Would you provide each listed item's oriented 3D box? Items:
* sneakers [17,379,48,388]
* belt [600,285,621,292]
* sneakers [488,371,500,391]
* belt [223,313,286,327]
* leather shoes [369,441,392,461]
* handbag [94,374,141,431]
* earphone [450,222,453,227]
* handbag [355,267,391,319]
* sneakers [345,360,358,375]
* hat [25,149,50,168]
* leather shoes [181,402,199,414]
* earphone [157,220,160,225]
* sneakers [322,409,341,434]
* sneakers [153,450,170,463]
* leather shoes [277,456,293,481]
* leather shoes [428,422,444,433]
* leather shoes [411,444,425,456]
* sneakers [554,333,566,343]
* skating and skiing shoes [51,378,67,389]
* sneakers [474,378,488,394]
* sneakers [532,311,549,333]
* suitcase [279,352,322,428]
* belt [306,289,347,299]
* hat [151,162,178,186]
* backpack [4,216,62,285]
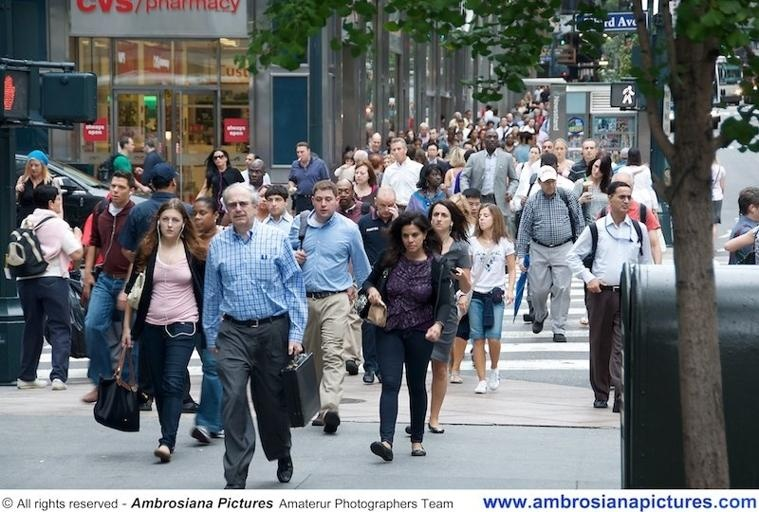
[{"bbox_3d":[-4.172,1.528,14.423,0.357,0.145,0.120,-3,7,-11],"label":"sneakers"},{"bbox_3d":[2.503,0.351,13.106,0.175,0.062,0.063,0,6,11],"label":"belt"},{"bbox_3d":[1.363,1.483,14.327,0.092,0.293,0.115,-3,-20,18],"label":"sneakers"},{"bbox_3d":[-1.116,0.566,10.614,0.545,0.099,0.154,-1,6,-6],"label":"belt"},{"bbox_3d":[0.021,1.785,11.160,0.127,0.238,0.114,-30,21,25],"label":"leather shoes"},{"bbox_3d":[-2.468,1.332,11.369,0.472,0.560,0.271,16,-5,-33],"label":"handbag"},{"bbox_3d":[0.766,-0.351,12.825,0.023,0.024,0.025,5,-6,-43],"label":"earphone"},{"bbox_3d":[-0.103,0.346,11.399,0.163,0.470,0.327,13,-14,-24],"label":"handbag"},{"bbox_3d":[-0.356,1.398,15.229,0.116,0.128,0.324,1,-29,3],"label":"sneakers"},{"bbox_3d":[-4.733,-1.377,16.649,0.297,0.319,0.391,-1,6,-24],"label":"hat"},{"bbox_3d":[-2.109,1.657,13.312,0.166,0.115,0.293,-2,6,-7],"label":"leather shoes"},{"bbox_3d":[-2.145,-0.323,11.611,0.013,0.053,0.060,-3,6,-28],"label":"earphone"},{"bbox_3d":[-0.499,1.672,12.313,0.166,0.249,0.261,-1,5,-4],"label":"sneakers"},{"bbox_3d":[-2.041,1.840,11.240,0.151,0.139,0.187,-2,6,-8],"label":"sneakers"},{"bbox_3d":[-0.847,1.878,10.655,0.092,0.275,0.108,-2,15,5],"label":"leather shoes"},{"bbox_3d":[0.586,1.743,12.334,0.172,0.097,0.154,-1,6,-4],"label":"leather shoes"},{"bbox_3d":[0.367,1.824,11.478,0.137,0.106,0.172,-1,6,0],"label":"leather shoes"},{"bbox_3d":[2.585,1.172,17.319,0.082,0.090,0.226,0,-5,-6],"label":"sneakers"},{"bbox_3d":[-3.848,1.506,14.374,0.180,0.143,0.265,-2,6,-15],"label":"skating and skiing shoes"},{"bbox_3d":[1.196,1.505,14.269,0.149,0.182,0.386,0,6,5],"label":"sneakers"},{"bbox_3d":[2.322,0.991,17.558,0.151,0.408,0.174,19,44,8],"label":"sneakers"},{"bbox_3d":[-0.704,1.143,10.489,0.208,0.582,0.425,1,5,16],"label":"suitcase"},{"bbox_3d":[-0.563,0.398,12.832,0.438,0.076,0.115,-1,6,-4],"label":"belt"},{"bbox_3d":[-2.390,-0.902,13.268,0.195,0.157,0.294,2,36,11],"label":"hat"},{"bbox_3d":[-4.121,-0.029,13.931,0.393,0.597,0.655,1,9,35],"label":"backpack"}]
